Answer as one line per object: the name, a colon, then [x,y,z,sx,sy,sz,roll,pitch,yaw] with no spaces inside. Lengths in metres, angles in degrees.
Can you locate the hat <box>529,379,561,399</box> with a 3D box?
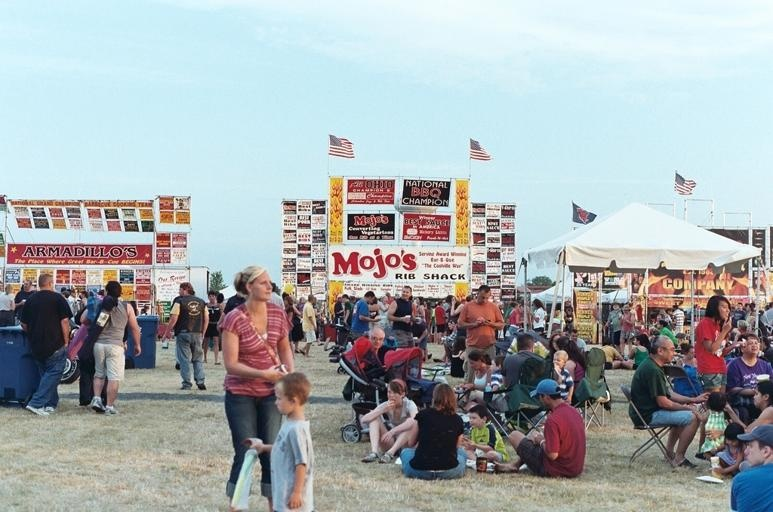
hat: [3.087,2.626,26.778,0.499,0.309,0.352,1,6,11]

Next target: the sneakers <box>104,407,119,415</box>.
sneakers: [-5.977,3.397,30.045,0.323,0.228,0.122,1,1,-10]

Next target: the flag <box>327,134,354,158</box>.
flag: [-1.985,-4.666,59.484,0.962,1.152,3.083,2,-3,-1]

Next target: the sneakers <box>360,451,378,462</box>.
sneakers: [-0.367,4.037,27.408,0.341,0.165,0.145,4,-6,-8]

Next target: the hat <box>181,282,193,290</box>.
hat: [-4.931,0.778,33.977,0.183,0.238,0.240,0,0,-27]

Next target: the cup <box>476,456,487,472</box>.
cup: [1.857,4.128,27.100,0.237,0.276,0.131,2,-2,-4]

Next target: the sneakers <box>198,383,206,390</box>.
sneakers: [-4.430,3.176,33.063,0.124,0.151,0.164,10,41,0]

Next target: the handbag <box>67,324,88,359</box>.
handbag: [-6.698,1.890,29.994,0.382,0.740,0.552,3,-2,-14]

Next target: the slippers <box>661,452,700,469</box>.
slippers: [5.844,4.118,27.477,0.646,0.215,0.263,6,13,17]

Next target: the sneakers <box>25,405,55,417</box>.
sneakers: [-7.503,3.373,29.793,0.546,0.257,0.223,6,3,-14]

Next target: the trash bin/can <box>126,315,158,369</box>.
trash bin/can: [-6.704,2.386,37.187,0.872,1.395,0.886,-1,-4,-30]

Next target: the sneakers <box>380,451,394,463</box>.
sneakers: [0.009,4.025,27.404,0.139,0.186,0.395,22,-8,10]

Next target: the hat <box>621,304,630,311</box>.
hat: [7.727,1.718,44.665,0.160,0.216,0.216,-13,-31,7]
